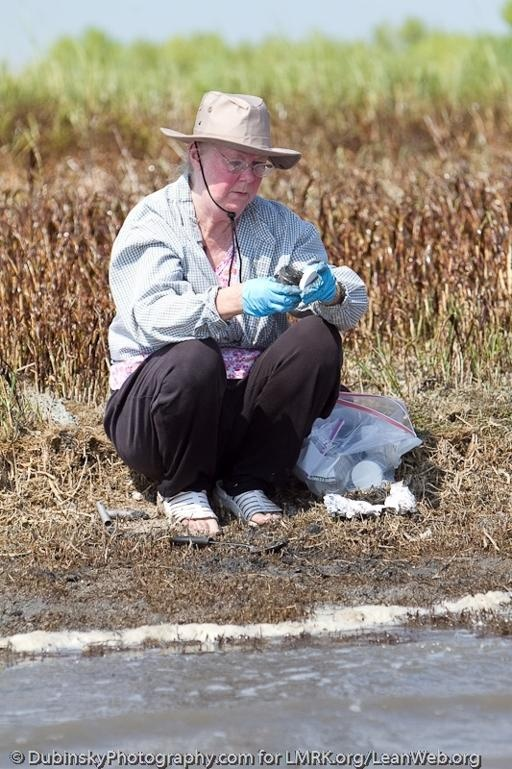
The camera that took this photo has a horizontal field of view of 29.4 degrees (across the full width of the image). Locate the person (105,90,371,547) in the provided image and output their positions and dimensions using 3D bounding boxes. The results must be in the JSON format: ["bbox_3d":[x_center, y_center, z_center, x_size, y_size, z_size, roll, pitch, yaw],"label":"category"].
[{"bbox_3d":[-0.052,-0.198,2.935,0.805,1.186,0.913,-8,12,-35],"label":"person"}]

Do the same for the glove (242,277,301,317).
[{"bbox_3d":[0.041,-0.238,2.663,0.163,0.102,0.090,1,14,0],"label":"glove"}]

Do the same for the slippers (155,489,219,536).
[{"bbox_3d":[-0.207,0.377,2.873,0.149,0.079,0.258,-8,13,-24],"label":"slippers"}]

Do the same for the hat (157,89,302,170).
[{"bbox_3d":[-0.100,-0.751,2.813,0.277,0.284,0.357,-17,27,-38],"label":"hat"}]

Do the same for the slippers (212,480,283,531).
[{"bbox_3d":[-0.026,0.361,2.941,0.105,0.084,0.260,-7,13,-35],"label":"slippers"}]

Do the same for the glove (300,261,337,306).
[{"bbox_3d":[0.174,-0.281,2.722,0.098,0.110,0.125,-5,16,2],"label":"glove"}]
